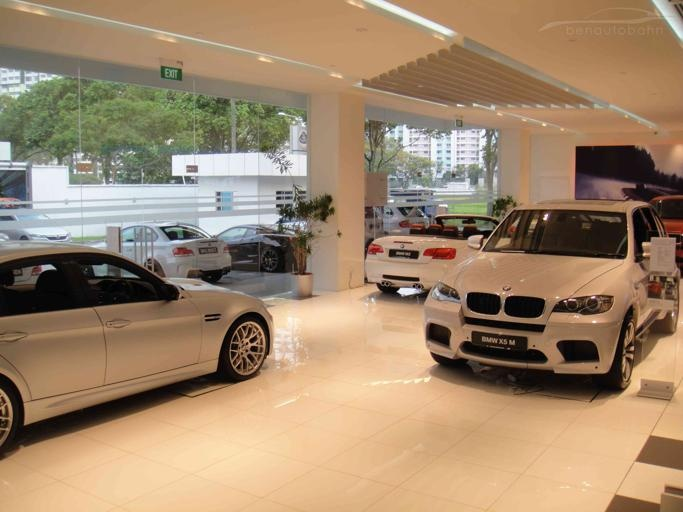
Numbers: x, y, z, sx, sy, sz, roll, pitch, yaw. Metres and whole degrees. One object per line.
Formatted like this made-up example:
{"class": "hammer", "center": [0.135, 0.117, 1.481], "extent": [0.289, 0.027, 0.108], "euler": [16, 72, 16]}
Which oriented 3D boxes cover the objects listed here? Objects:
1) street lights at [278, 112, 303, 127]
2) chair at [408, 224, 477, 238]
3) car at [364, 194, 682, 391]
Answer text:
{"class": "street lights", "center": [-1.210, -3.357, 10.523], "extent": [0.829, 0.286, 0.053], "euler": [-5, 6, -44]}
{"class": "chair", "center": [2.287, -0.720, 10.018], "extent": [1.365, 0.400, 0.464], "euler": [2, 12, 1]}
{"class": "car", "center": [2.512, 0.386, 5.046], "extent": [2.686, 2.174, 1.638], "euler": [-3, 5, -29]}
